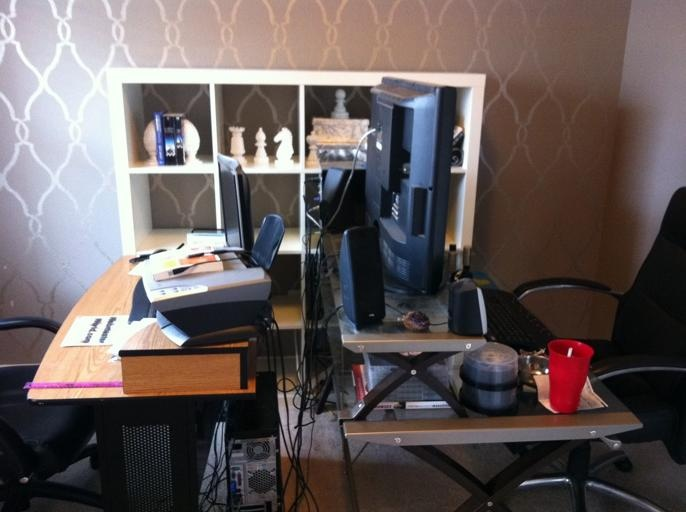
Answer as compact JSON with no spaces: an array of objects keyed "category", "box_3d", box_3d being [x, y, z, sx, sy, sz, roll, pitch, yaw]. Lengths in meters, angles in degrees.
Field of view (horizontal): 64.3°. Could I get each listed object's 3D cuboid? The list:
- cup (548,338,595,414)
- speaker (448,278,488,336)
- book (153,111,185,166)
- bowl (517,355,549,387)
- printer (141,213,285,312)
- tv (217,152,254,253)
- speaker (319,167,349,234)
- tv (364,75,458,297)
[{"category":"cup","box_3d":[0.759,0.413,1.850,0.139,0.208,0.142,0,15,0]},{"category":"speaker","box_3d":[0.420,0.175,1.858,0.122,0.178,0.127,0,18,7]},{"category":"book","box_3d":[-0.926,-0.621,2.909,0.125,0.226,0.235,0,16,-3]},{"category":"bowl","box_3d":[0.681,0.402,1.964,0.090,0.075,0.107,-4,26,0]},{"category":"printer","box_3d":[-0.491,0.059,2.152,0.512,0.334,0.384,-4,21,-16]},{"category":"tv","box_3d":[-0.497,-0.232,2.478,0.149,0.489,0.405,-8,21,-19]},{"category":"speaker","box_3d":[-0.039,-0.304,2.820,0.161,0.295,0.157,-2,18,2]},{"category":"tv","box_3d":[0.266,-0.272,2.225,0.282,0.817,0.808,-6,24,-10]}]
